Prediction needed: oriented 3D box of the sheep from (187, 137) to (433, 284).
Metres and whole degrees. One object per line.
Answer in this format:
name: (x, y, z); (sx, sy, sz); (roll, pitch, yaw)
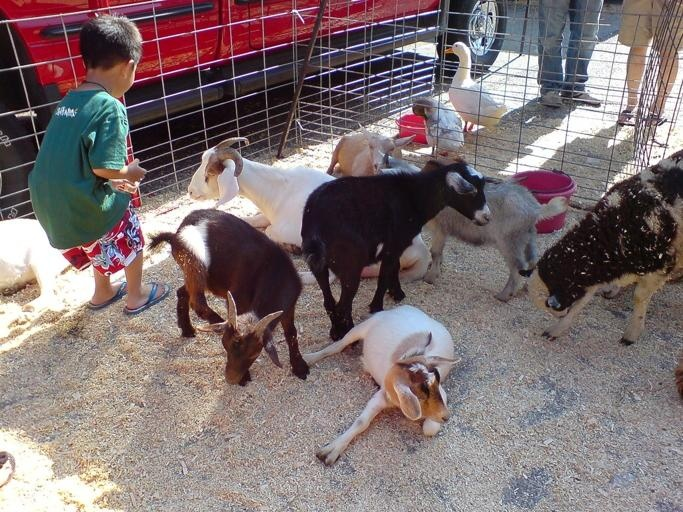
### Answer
sheep: (-0.288, -0.338, 4.276); (1.663, 0.864, 0.559); (3, 19, -9)

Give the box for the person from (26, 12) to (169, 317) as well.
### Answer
person: (-1.622, -0.488, 3.706); (0.873, 1.947, 0.554); (-13, 33, -18)

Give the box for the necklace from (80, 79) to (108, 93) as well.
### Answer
necklace: (-1.558, -1.056, 3.453); (0.162, 0.069, 0.059); (6, 33, 10)

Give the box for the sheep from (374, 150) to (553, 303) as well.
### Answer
sheep: (0.984, -0.273, 4.327); (1.372, 0.972, 0.463); (16, 30, 30)

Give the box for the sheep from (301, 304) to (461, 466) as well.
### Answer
sheep: (0.253, 0.650, 3.514); (0.912, 0.583, 1.276); (8, 27, -2)

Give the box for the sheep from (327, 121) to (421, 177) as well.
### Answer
sheep: (0.319, -0.844, 4.634); (0.621, 0.465, 0.273); (-3, 0, -28)

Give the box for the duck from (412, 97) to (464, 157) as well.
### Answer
duck: (0.962, -1.503, 6.065); (0.390, 0.286, 0.625); (-32, 36, -20)
